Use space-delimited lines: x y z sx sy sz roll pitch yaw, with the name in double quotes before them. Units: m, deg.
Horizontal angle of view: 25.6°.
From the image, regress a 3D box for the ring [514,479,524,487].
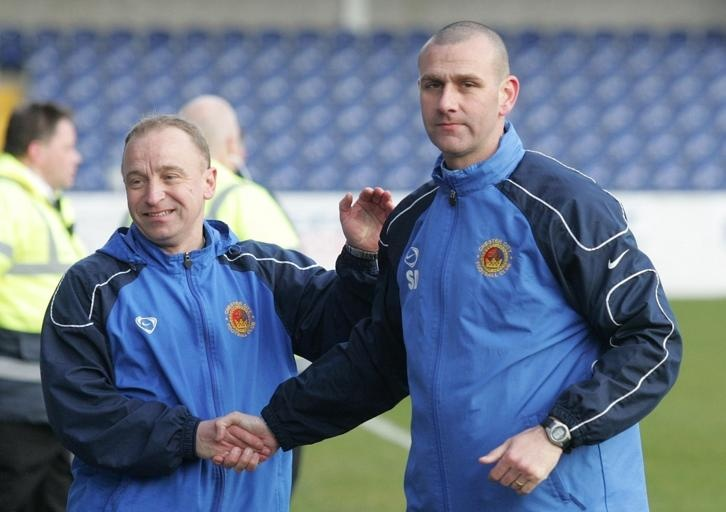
"ring" 1.149 1.661 11.695 0.052 0.024 0.045 16 1 -18
